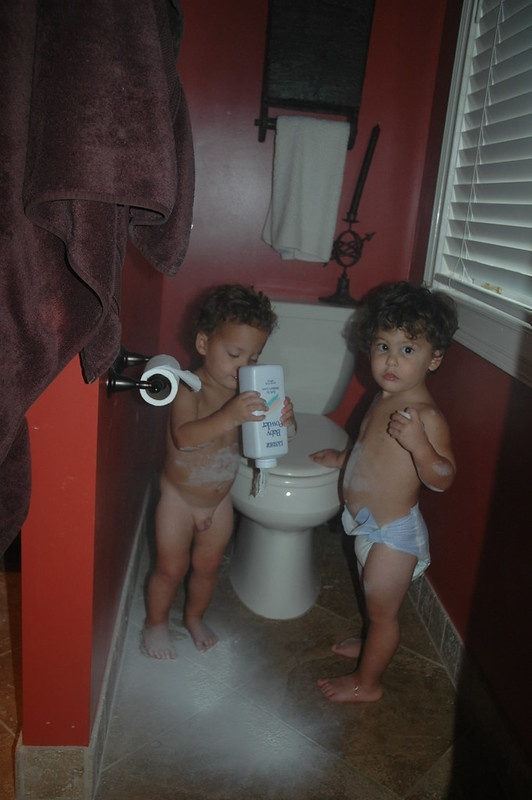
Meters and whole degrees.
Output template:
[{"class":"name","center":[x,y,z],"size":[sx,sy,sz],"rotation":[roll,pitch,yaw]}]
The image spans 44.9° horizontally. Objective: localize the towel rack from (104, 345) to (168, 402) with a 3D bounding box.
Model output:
[{"class":"towel rack","center":[-0.207,-0.038,1.022],"size":[0.078,0.068,0.098],"rotation":[33,5,21]}]

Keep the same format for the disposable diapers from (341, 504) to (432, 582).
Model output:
[{"class":"disposable diapers","center":[0.226,0.256,1.335],"size":[0.239,0.152,0.161],"rotation":[2,14,0]}]

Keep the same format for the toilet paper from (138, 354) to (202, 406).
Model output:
[{"class":"toilet paper","center":[-0.151,-0.027,1.025],"size":[0.101,0.068,0.039],"rotation":[2,9,-2]}]

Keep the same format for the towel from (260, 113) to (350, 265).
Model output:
[{"class":"towel","center":[0.115,-0.588,1.785],"size":[0.213,0.394,0.100],"rotation":[2,22,-4]}]

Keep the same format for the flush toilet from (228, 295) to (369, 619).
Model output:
[{"class":"flush toilet","center":[0.073,0.145,1.606],"size":[0.369,0.650,0.634],"rotation":[6,22,-2]}]
